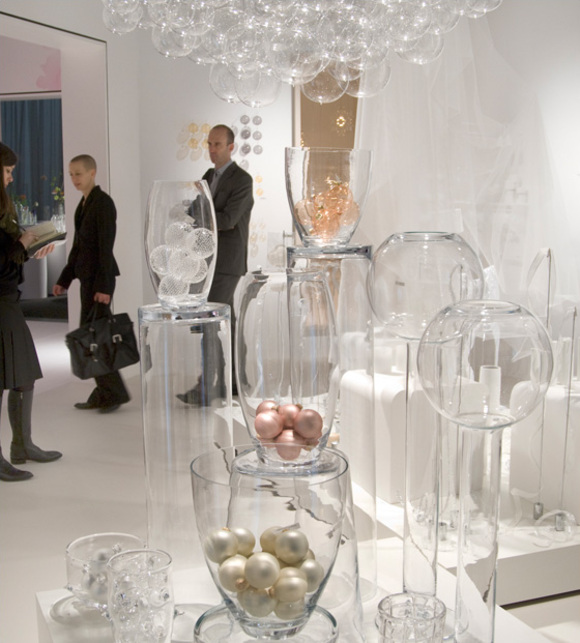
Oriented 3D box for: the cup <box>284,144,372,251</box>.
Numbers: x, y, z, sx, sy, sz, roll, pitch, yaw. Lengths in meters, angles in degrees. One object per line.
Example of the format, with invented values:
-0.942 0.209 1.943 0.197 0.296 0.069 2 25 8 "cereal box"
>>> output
0.051 -0.253 1.358 0.184 0.224 0.195 1 4 0 "cup"
